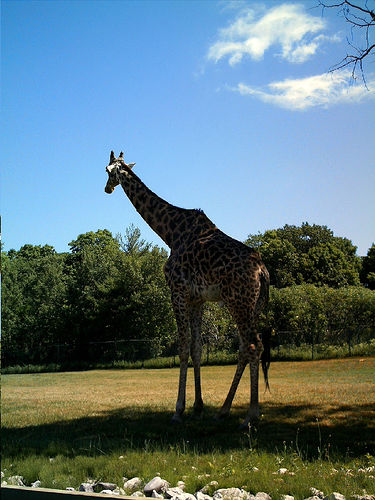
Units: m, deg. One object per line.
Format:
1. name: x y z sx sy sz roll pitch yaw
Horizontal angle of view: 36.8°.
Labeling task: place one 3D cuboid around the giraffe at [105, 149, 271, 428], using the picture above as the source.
1. giraffe: 0.056 0.477 6.237 0.865 2.526 1.853 -11 9 -40
